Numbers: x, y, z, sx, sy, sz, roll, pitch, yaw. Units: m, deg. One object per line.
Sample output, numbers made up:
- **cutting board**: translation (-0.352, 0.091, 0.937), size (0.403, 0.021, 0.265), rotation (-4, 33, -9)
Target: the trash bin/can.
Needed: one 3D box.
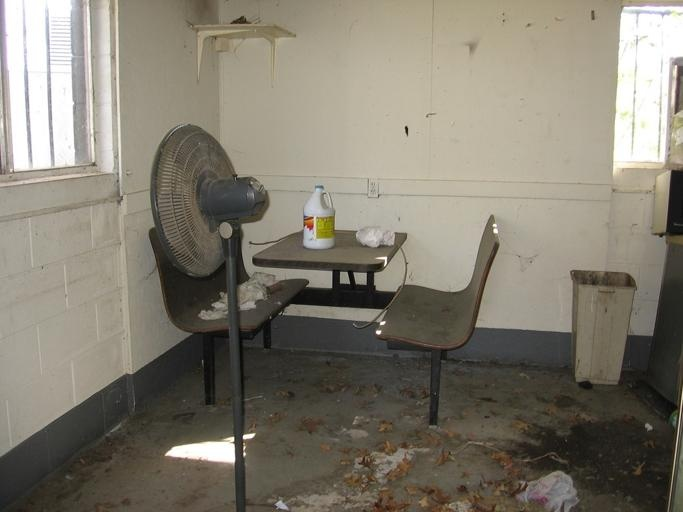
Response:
- **trash bin/can**: translation (1.654, 0.456, 3.660), size (0.366, 0.664, 0.399), rotation (5, 14, 17)

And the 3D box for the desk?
- **desk**: translation (-0.003, 0.166, 3.310), size (0.534, 0.338, 0.730), rotation (3, 20, 14)

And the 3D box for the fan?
- **fan**: translation (-0.514, 0.255, 2.310), size (0.397, 1.533, 0.439), rotation (-11, 18, -40)

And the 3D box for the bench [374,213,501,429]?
- **bench**: translation (0.619, 0.397, 3.531), size (0.508, 0.778, 1.109), rotation (3, 9, 14)

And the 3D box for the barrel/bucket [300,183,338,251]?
- **barrel/bucket**: translation (-0.130, -0.225, 3.223), size (0.174, 0.351, 0.162), rotation (1, 14, 0)
